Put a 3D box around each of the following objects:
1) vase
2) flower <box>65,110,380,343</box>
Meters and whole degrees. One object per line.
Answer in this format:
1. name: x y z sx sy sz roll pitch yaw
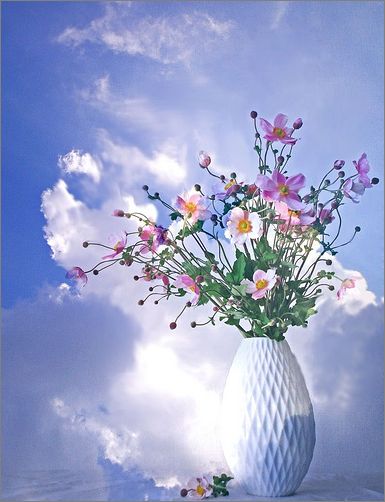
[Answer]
1. vase: 0.150 0.334 1.062 0.193 0.314 0.081 -5 -18 3
2. flower: -0.020 0.042 1.231 0.782 0.433 0.721 -8 -3 18
